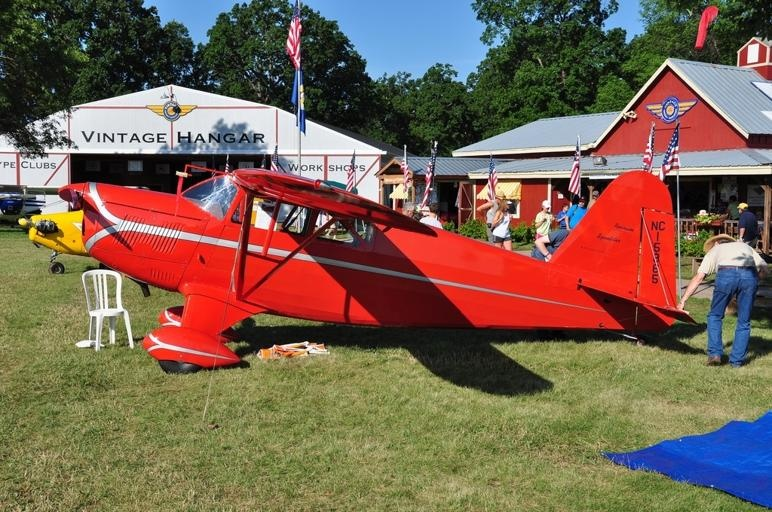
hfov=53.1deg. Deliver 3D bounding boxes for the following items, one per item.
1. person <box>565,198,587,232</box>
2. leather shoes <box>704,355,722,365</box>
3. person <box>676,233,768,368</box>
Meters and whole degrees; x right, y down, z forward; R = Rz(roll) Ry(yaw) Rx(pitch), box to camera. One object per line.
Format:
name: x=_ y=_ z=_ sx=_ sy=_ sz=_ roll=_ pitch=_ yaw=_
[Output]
person: x=5.036 y=-1.127 z=20.631 sx=0.594 sy=0.869 sz=0.318 roll=-8 pitch=31 yaw=-18
leather shoes: x=5.916 y=1.921 z=14.005 sx=0.165 sy=0.186 sz=0.203 roll=-6 pitch=-29 yaw=-31
person: x=6.174 y=0.872 z=13.988 sx=0.956 sy=2.233 sz=0.415 roll=4 pitch=4 yaw=15
